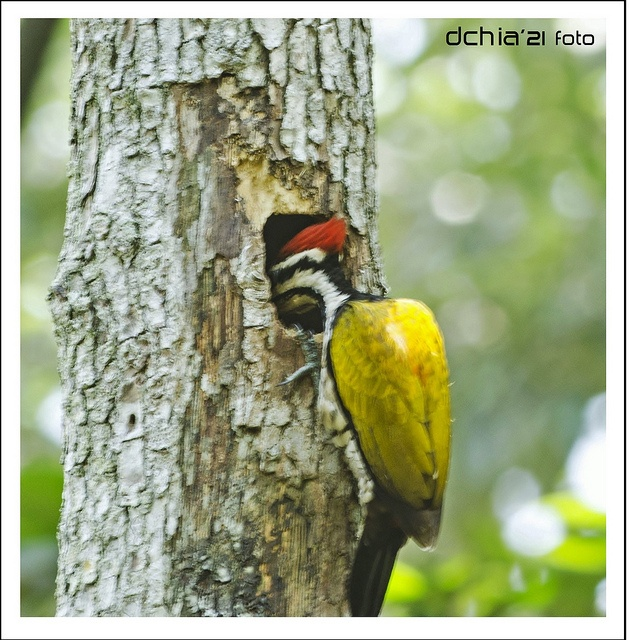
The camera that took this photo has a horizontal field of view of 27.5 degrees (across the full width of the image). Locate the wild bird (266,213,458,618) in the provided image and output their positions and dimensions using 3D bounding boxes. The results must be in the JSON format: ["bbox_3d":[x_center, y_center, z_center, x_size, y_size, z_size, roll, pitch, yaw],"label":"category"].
[{"bbox_3d":[0.256,0.432,6.368,0.707,1.667,1.108,-28,-45,34],"label":"wild bird"}]
